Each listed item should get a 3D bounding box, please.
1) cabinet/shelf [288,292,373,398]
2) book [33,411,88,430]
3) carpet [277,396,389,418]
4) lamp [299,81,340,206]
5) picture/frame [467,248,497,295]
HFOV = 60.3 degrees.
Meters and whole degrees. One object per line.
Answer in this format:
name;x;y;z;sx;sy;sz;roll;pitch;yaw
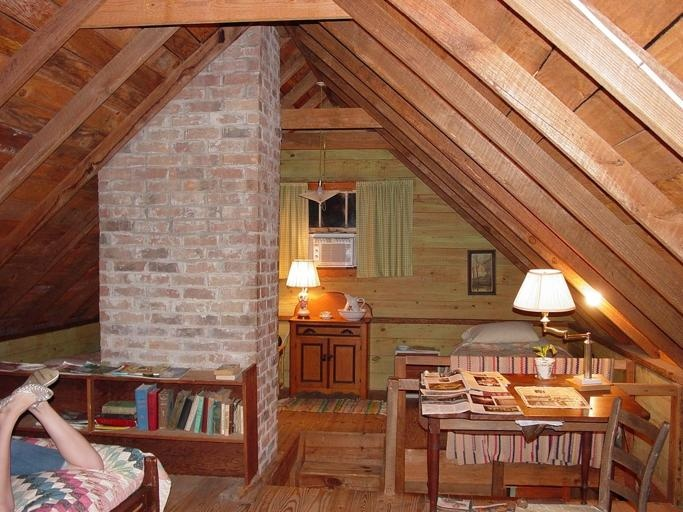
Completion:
cabinet/shelf;-0.138;1.041;6.037;0.823;0.811;0.230;3;-6;5
book;-1.846;1.148;4.036;0.370;0.055;0.285;1;-1;4
carpet;-0.102;1.477;5.839;1.051;0.079;0.623;2;-3;0
lamp;-0.171;-1.139;6.102;0.409;1.184;0.889;5;-5;-3
picture/frame;1.479;0.177;6.257;0.294;0.495;0.090;3;-6;7
